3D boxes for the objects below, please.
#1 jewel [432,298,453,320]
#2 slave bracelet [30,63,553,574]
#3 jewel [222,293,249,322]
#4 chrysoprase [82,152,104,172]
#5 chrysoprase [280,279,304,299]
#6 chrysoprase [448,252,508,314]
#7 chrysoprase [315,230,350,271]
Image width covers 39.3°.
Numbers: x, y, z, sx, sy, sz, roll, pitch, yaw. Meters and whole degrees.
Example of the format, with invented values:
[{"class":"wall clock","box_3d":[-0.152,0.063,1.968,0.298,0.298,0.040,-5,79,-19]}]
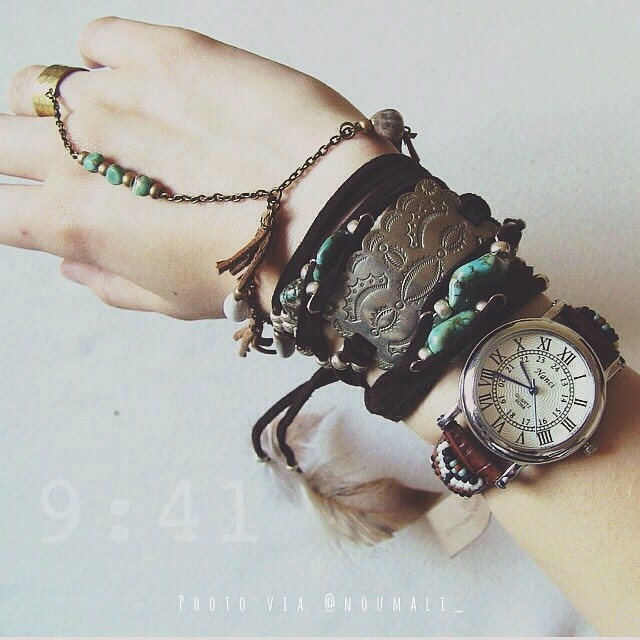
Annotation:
[{"class":"jewel","box_3d":[0.187,-0.015,1.373,0.036,0.025,0.017,-1,-6,22]},{"class":"slave bracelet","box_3d":[-0.086,-0.054,1.736,1.227,0.753,0.440,29,47,19]},{"class":"jewel","box_3d":[-0.141,-0.022,1.526,0.044,0.068,0.029,14,46,-2]},{"class":"chrysoprase","box_3d":[-0.403,-0.280,1.595,0.043,0.030,0.020,10,0,-1]},{"class":"chrysoprase","box_3d":[-0.044,-0.048,1.433,0.029,0.037,0.033,13,44,-2]},{"class":"chrysoprase","box_3d":[0.241,-0.058,1.385,0.056,0.080,0.100,38,48,22]},{"class":"chrysoprase","box_3d":[0.019,-0.109,1.401,0.020,0.061,0.051,49,9,18]}]
